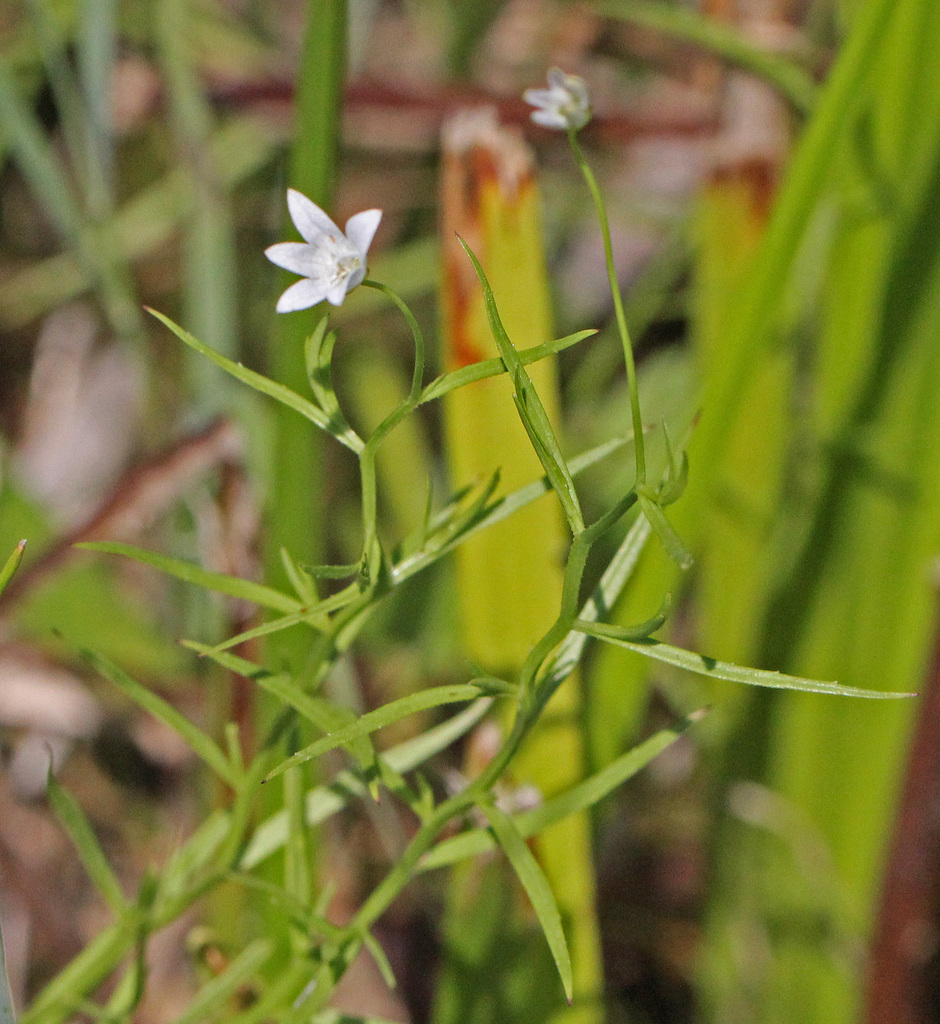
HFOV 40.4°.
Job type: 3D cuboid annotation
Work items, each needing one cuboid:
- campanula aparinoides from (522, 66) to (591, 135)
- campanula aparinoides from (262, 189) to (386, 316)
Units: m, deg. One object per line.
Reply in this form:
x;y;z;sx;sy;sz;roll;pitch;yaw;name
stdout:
0.042;-0.197;0.610;0.032;0.028;0.030;20;34;27;campanula aparinoides
-0.073;-0.131;0.607;0.048;0.054;0.130;-4;33;-12;campanula aparinoides
